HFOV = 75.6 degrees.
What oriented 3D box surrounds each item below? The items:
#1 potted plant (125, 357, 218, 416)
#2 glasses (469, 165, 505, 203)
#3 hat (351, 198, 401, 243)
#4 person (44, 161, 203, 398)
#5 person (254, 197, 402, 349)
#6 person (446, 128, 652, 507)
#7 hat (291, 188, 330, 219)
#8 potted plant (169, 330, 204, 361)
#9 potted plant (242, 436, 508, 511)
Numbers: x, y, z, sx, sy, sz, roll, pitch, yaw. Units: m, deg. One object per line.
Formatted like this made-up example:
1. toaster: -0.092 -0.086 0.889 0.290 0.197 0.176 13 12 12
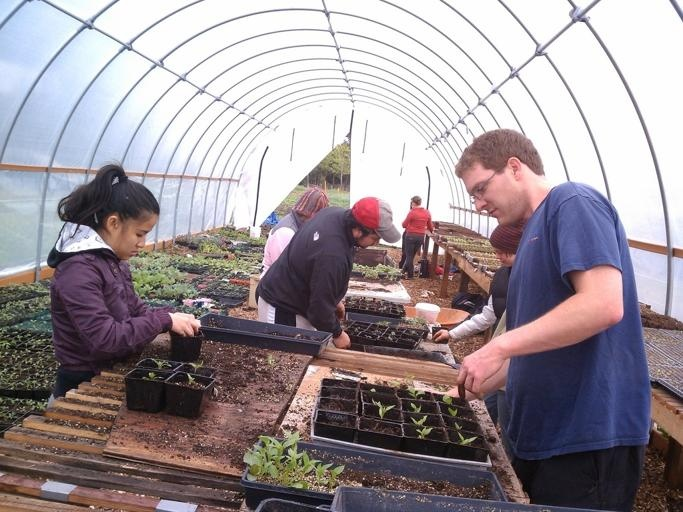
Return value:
1. potted plant: -1.068 0.834 2.789 0.407 0.142 0.322 5 14 6
2. glasses: 0.864 -0.432 2.635 0.049 0.165 0.159 45 -16 7
3. hat: 0.329 -0.344 4.193 0.471 0.412 0.325 2 12 -2
4. person: -1.628 0.240 3.150 0.846 1.754 0.654 -6 15 -36
5. person: -0.198 0.157 4.414 1.376 1.541 0.700 10 14 31
6. person: 1.239 0.413 2.528 1.093 2.208 0.832 5 12 14
7. hat: -0.391 -0.692 5.982 0.444 0.436 0.440 18 27 -16
8. potted plant: -1.144 0.676 3.253 0.251 0.193 0.213 3 -3 -4
9. potted plant: 0.240 1.221 2.407 1.052 0.177 0.516 7 21 -2
